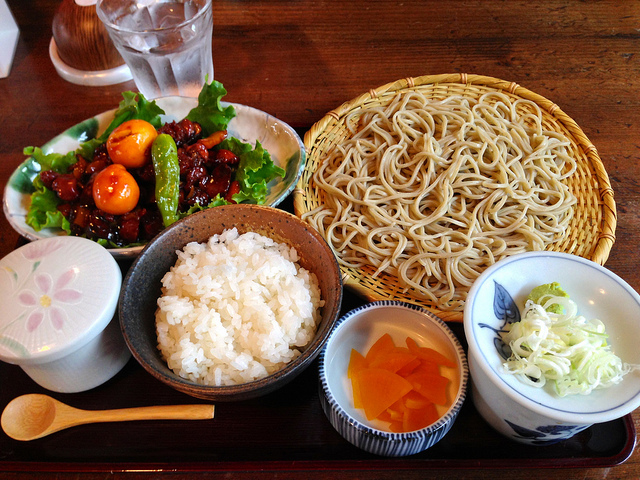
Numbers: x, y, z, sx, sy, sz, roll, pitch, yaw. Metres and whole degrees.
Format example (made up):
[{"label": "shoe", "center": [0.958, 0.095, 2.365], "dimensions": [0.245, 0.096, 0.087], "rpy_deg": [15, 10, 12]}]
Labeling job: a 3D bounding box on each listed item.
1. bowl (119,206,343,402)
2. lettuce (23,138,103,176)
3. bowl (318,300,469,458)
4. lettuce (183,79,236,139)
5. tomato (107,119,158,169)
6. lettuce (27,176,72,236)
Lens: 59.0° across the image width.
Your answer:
[{"label": "bowl", "center": [-0.289, 0.211, 1.932], "dimensions": [0.711, 0.303, 0.685], "rpy_deg": [1, 62, -1]}, {"label": "lettuce", "center": [-1.032, -0.381, 2.395], "dimensions": [0.254, 0.147, 0.334], "rpy_deg": [5, 23, 13]}, {"label": "bowl", "center": [0.241, 0.446, 1.872], "dimensions": [0.501, 0.150, 0.500], "rpy_deg": [1, 62, -1]}, {"label": "lettuce", "center": [-0.470, -0.590, 2.513], "dimensions": [0.280, 0.239, 0.200], "rpy_deg": [-11, 27, -19]}, {"label": "tomato", "center": [-0.752, -0.368, 2.263], "dimensions": [0.211, 0.156, 0.202], "rpy_deg": [-28, 29, -34]}, {"label": "lettuce", "center": [-1.050, -0.128, 2.201], "dimensions": [0.144, 0.151, 0.192], "rpy_deg": [16, 32, 27]}]
